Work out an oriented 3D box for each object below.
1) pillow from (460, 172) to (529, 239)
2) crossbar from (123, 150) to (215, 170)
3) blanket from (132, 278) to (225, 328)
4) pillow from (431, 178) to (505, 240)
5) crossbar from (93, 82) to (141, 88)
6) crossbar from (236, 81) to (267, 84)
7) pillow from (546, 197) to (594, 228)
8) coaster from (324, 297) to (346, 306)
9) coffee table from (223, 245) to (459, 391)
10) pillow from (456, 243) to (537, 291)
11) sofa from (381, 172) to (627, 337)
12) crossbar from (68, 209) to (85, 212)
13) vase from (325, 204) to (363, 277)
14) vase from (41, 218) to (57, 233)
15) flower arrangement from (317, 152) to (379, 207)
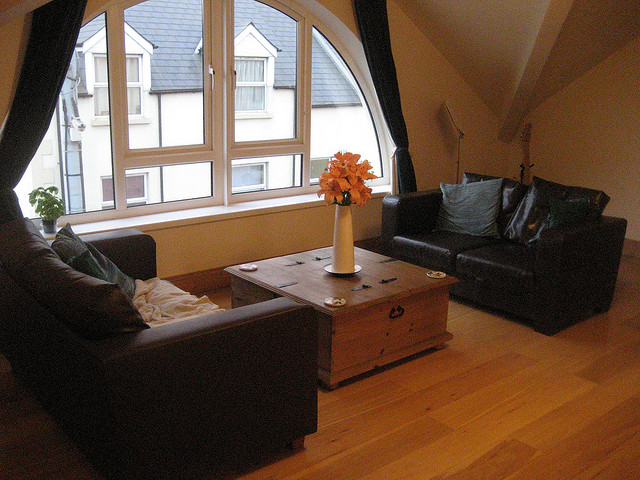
[{"bbox_3d":[1.583,-0.260,4.438,0.580,0.562,0.215,20,9,28],"label":"pillow"},{"bbox_3d":[-1.309,-0.701,4.414,0.811,0.117,0.056,-11,16,-34],"label":"crossbar"},{"bbox_3d":[-0.882,0.378,2.956,0.255,0.033,0.409,-9,22,-32],"label":"blanket"},{"bbox_3d":[1.322,-0.253,4.436,0.522,0.466,0.182,7,-8,29],"label":"pillow"},{"bbox_3d":[-1.639,-1.249,4.075,0.380,0.045,0.013,-13,17,-39],"label":"crossbar"},{"bbox_3d":[-0.636,-1.469,4.718,0.330,0.028,0.011,-13,17,-39],"label":"crossbar"},{"bbox_3d":[1.880,-0.209,3.820,0.279,0.265,0.107,-1,-11,7],"label":"pillow"},{"bbox_3d":[0.086,0.367,2.953,0.122,0.022,0.081,-2,13,3],"label":"coaster"},{"bbox_3d":[0.135,0.495,3.573,1.382,0.546,1.353,-5,12,-25],"label":"coffee table"},{"bbox_3d":[1.321,0.192,3.755,0.381,0.101,0.398,9,24,30],"label":"pillow"},{"bbox_3d":[1.473,-0.013,4.268,1.024,0.924,1.724,-13,19,-34],"label":"sofa"},{"bbox_3d":[-1.973,-0.236,4.064,0.142,0.016,0.015,-6,4,-29],"label":"crossbar"},{"bbox_3d":[0.120,0.011,3.376,0.329,0.502,0.310,1,13,4],"label":"vase"},{"bbox_3d":[-2.001,-0.098,3.724,0.097,0.106,0.094,-2,5,-24],"label":"vase"},{"bbox_3d":[0.137,-0.367,3.248,0.396,0.323,0.335,15,-17,-41],"label":"flower arrangement"}]
